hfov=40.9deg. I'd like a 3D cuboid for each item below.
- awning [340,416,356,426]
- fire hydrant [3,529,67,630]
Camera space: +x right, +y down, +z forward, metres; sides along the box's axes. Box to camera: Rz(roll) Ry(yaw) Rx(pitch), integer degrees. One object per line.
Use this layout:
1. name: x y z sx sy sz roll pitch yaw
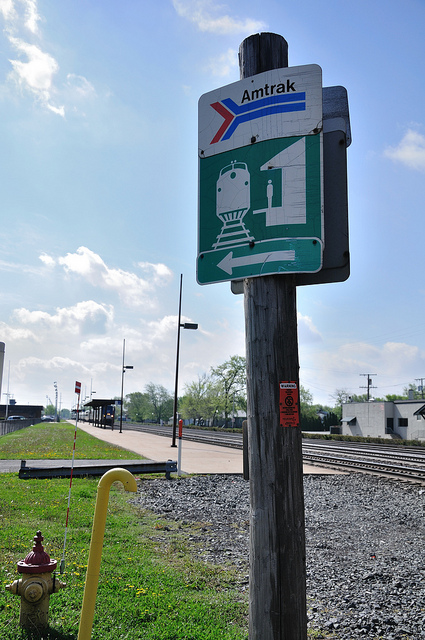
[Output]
1. awning: 13.583 9.967 56.301 0.368 0.930 1.933 4 -9 -15
2. fire hydrant: -1.345 1.956 4.356 0.439 0.711 0.292 5 -8 -20
